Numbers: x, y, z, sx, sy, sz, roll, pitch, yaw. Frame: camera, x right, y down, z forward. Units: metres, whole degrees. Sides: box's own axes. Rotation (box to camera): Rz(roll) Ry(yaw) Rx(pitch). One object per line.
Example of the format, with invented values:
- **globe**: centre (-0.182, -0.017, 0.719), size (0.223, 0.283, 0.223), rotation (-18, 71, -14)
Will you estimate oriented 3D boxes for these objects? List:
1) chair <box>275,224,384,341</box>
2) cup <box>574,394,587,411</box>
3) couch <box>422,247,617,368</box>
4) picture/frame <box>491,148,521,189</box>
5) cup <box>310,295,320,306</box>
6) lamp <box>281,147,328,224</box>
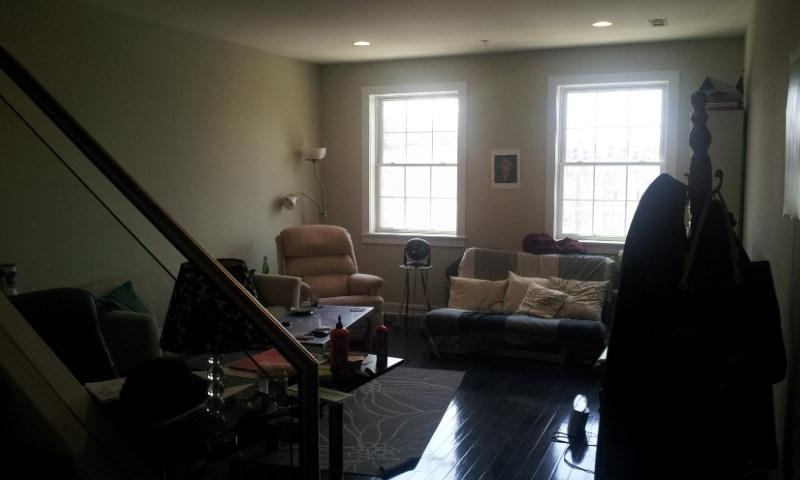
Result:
- **chair**: centre (-0.814, 0.439, 6.662), size (1.087, 1.148, 1.153), rotation (-3, 7, -17)
- **cup**: centre (1.395, 1.263, 4.471), size (0.096, 0.064, 0.184), rotation (2, 8, 18)
- **couch**: centre (1.315, 0.711, 6.198), size (1.800, 1.011, 1.128), rotation (2, 9, 20)
- **picture/frame**: centre (1.294, -0.880, 7.013), size (0.508, 0.648, 0.026), rotation (0, 2, 22)
- **cup**: centre (-0.866, 0.630, 5.891), size (0.091, 0.092, 0.106), rotation (1, -3, -13)
- **lamp**: centre (-1.139, -0.673, 7.393), size (0.412, 0.976, 0.791), rotation (3, 9, 23)
